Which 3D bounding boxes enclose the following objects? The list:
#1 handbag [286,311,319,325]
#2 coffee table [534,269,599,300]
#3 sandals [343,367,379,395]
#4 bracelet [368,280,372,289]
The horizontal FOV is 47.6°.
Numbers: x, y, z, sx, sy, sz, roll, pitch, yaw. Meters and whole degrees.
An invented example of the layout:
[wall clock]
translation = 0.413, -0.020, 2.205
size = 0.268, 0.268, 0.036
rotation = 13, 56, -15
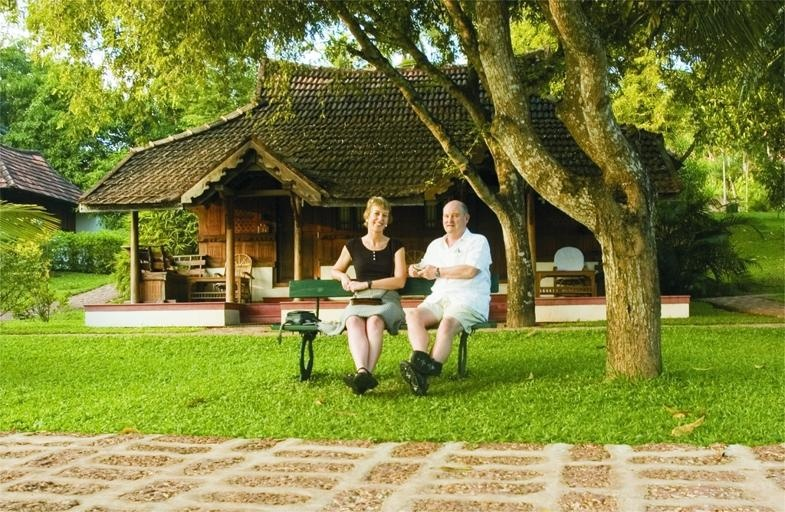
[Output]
[handbag]
translation = -1.543, 1.036, 14.892
size = 0.284, 0.162, 0.329
rotation = 1, 0, 17
[coffee table]
translation = 4.763, 0.625, 24.744
size = 1.615, 0.742, 1.652
rotation = 1, 15, 11
[sandals]
translation = -0.472, 1.959, 13.903
size = 0.300, 0.277, 0.658
rotation = -39, 8, -27
[bracelet]
translation = -0.363, 0.467, 14.579
size = 0.065, 0.109, 0.037
rotation = 1, 15, 8
